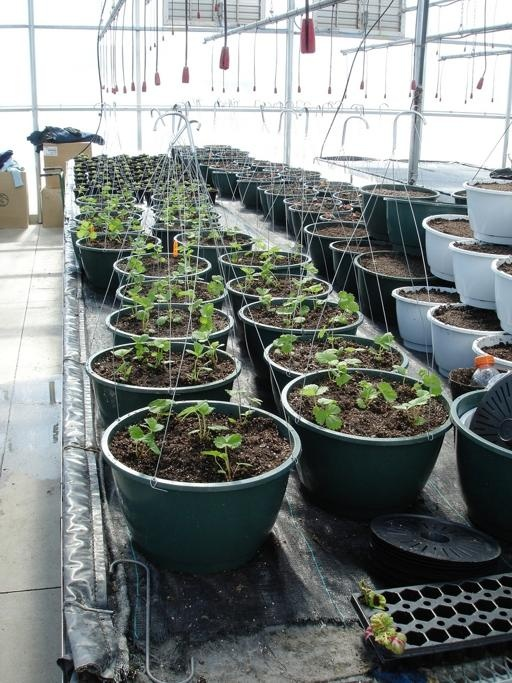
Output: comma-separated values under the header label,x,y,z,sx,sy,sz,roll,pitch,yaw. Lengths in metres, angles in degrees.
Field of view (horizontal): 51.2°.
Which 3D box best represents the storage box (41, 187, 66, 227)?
label,x,y,z,sx,sy,sz,roll,pitch,yaw
storage box,-3.117,-2.055,8.185,0.288,0.595,0.203,-5,16,-24
